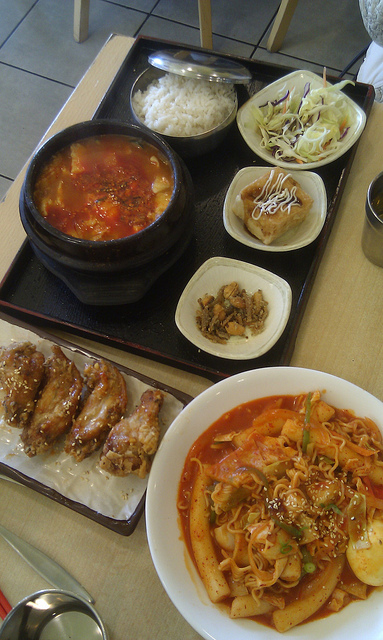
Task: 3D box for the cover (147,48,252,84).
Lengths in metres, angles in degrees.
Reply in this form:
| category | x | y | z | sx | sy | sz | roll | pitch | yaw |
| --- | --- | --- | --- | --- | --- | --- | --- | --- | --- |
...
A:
| category | x | y | z | sx | sy | sz | roll | pitch | yaw |
| --- | --- | --- | --- | --- | --- | --- | --- | --- | --- |
| cover | 0.056 | -1.032 | 2.014 | 0.276 | 0.050 | 0.262 | -1 | 45 | -26 |
